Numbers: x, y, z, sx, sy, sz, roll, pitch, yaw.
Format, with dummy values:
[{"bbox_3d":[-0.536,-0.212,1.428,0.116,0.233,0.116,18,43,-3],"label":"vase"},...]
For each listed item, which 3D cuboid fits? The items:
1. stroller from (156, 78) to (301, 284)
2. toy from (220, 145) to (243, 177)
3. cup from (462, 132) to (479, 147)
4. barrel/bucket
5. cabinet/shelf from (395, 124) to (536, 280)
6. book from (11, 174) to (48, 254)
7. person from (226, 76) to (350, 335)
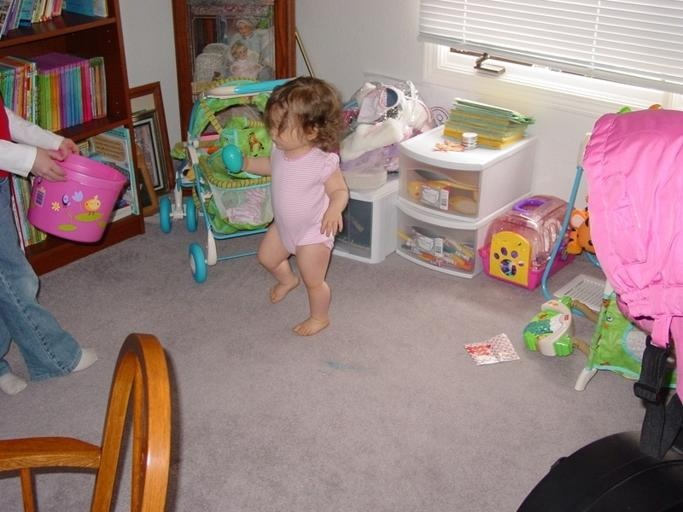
[{"bbox_3d":[-0.683,-0.525,2.849,0.664,1.048,1.030,-9,34,-16],"label":"stroller"},{"bbox_3d":[-0.494,-0.408,2.398,0.089,0.123,0.067,8,-7,-22],"label":"toy"},{"bbox_3d":[0.637,-0.569,2.739,0.072,0.071,0.075,-2,28,1],"label":"cup"},{"bbox_3d":[-1.157,-0.237,2.454,0.398,0.305,0.353,17,17,-33],"label":"barrel/bucket"},{"bbox_3d":[0.661,-0.317,3.017,0.654,0.627,0.502,-26,36,-36],"label":"cabinet/shelf"},{"bbox_3d":[-1.487,-0.205,2.555,0.095,0.622,0.235,5,13,-20],"label":"book"},{"bbox_3d":[-0.198,-0.239,2.442,0.364,1.051,0.511,-15,32,-27],"label":"person"}]
